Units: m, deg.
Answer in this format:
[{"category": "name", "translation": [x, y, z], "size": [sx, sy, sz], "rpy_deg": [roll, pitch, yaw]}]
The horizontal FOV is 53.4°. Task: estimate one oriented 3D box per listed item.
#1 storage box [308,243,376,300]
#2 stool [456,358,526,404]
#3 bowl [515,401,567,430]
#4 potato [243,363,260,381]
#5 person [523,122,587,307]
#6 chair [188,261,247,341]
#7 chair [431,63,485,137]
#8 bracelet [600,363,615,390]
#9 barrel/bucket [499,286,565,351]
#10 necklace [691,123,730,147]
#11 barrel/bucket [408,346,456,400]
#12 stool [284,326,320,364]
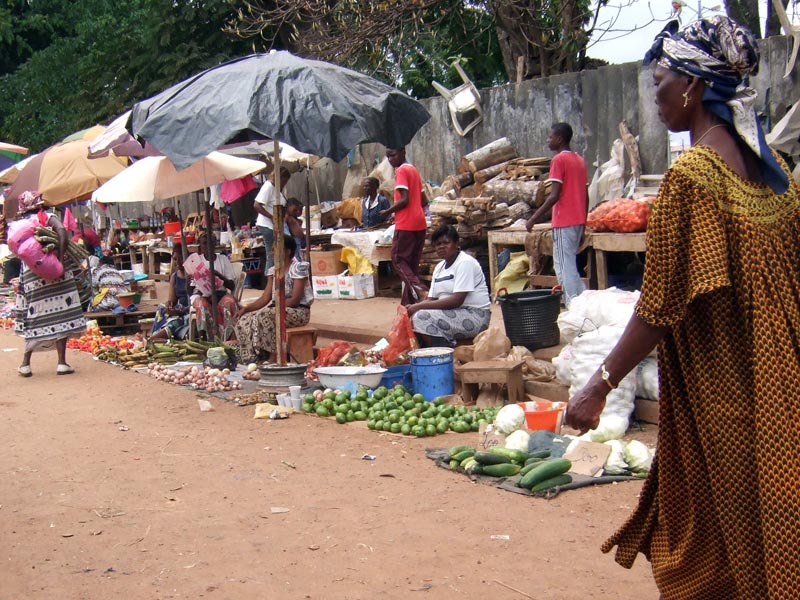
[{"category": "storage box", "translation": [-0.854, -0.731, 13.712], "size": [1.497, 1.107, 0.824], "rpy_deg": [4, 11, 41]}, {"category": "stool", "translation": [0.833, 0.695, 7.196], "size": [0.554, 0.508, 0.413], "rpy_deg": [-2, 1, 24]}, {"category": "bowl", "translation": [1.129, 0.908, 6.237], "size": [0.259, 0.163, 0.258], "rpy_deg": [1, -2, 0]}, {"category": "potato", "translation": [-1.690, 0.786, 9.004], "size": [0.211, 0.128, 0.294], "rpy_deg": [0, 6, -14]}, {"category": "person", "translation": [1.869, -0.966, 9.370], "size": [0.713, 2.188, 0.753], "rpy_deg": [5, 12, 34]}, {"category": "chair", "translation": [-2.413, -0.018, 10.449], "size": [0.739, 1.172, 0.825], "rpy_deg": [0, 1, -20]}, {"category": "chair", "translation": [1.005, -3.409, 13.504], "size": [0.633, 1.266, 0.984], "rpy_deg": [-8, 11, -22]}, {"category": "bracelet", "translation": [0.790, 0.295, 3.027], "size": [0.031, 0.085, 0.064], "rpy_deg": [-19, 0, 2]}, {"category": "barrel/bucket", "translation": [1.289, 0.178, 7.864], "size": [0.611, 0.593, 0.605], "rpy_deg": [0, 11, 0]}, {"category": "necklace", "translation": [1.166, -0.606, 2.998], "size": [0.084, 0.100, 0.113], "rpy_deg": [0, -7, -22]}, {"category": "barrel/bucket", "translation": [0.315, 0.690, 7.466], "size": [0.465, 0.440, 0.464], "rpy_deg": [-2, -1, 0]}, {"category": "stool", "translation": [-1.113, 0.495, 9.111], "size": [0.460, 0.466, 0.347], "rpy_deg": [-1, 0, -34]}]
